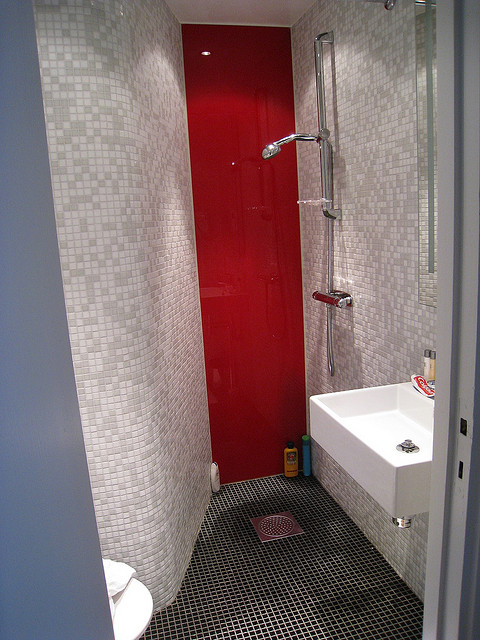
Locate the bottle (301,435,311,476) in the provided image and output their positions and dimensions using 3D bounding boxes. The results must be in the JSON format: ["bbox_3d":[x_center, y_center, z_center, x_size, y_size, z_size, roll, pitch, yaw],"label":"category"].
[{"bbox_3d":[0.423,0.844,3.045,0.049,0.255,0.048,-3,8,0],"label":"bottle"}]

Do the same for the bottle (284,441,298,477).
[{"bbox_3d":[0.324,0.863,3.050,0.080,0.237,0.063,-3,8,0],"label":"bottle"}]

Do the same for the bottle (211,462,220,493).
[{"bbox_3d":[-0.146,0.936,2.905,0.041,0.220,0.160,-3,8,1],"label":"bottle"}]

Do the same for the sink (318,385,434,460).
[{"bbox_3d":[0.543,0.347,1.816,0.282,0.138,0.533,-8,10,-21],"label":"sink"}]

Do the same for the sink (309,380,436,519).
[{"bbox_3d":[0.531,0.413,1.737,0.398,0.267,0.678,-6,9,-7],"label":"sink"}]

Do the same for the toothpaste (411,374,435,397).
[{"bbox_3d":[0.669,0.234,1.772,0.045,0.011,0.097,-51,3,7],"label":"toothpaste"}]

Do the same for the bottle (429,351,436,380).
[{"bbox_3d":[0.675,0.155,1.703,0.015,0.112,0.043,0,9,23],"label":"bottle"}]
